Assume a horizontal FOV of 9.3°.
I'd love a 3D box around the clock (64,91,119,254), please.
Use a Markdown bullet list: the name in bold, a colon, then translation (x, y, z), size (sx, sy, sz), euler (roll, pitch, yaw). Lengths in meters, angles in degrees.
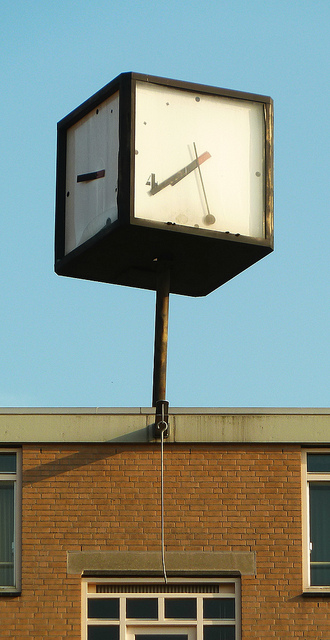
- **clock**: translation (-0.967, -2.002, 27.362), size (0.124, 1.798, 1.578), euler (8, -20, -28)
